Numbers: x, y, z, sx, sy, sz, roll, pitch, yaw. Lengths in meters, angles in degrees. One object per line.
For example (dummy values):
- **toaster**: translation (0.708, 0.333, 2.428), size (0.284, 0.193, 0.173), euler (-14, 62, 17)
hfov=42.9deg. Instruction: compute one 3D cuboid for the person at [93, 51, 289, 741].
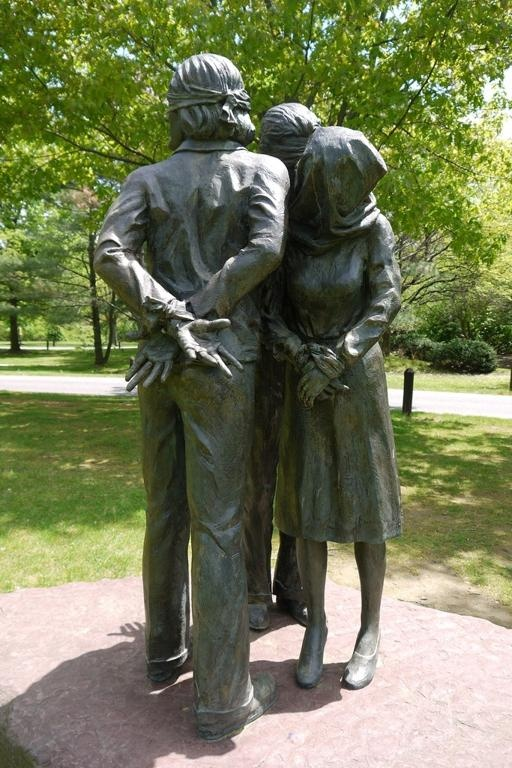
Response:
- **person**: translation (-0.210, 0.194, 2.377), size (0.643, 2.122, 0.598), euler (2, 4, 25)
